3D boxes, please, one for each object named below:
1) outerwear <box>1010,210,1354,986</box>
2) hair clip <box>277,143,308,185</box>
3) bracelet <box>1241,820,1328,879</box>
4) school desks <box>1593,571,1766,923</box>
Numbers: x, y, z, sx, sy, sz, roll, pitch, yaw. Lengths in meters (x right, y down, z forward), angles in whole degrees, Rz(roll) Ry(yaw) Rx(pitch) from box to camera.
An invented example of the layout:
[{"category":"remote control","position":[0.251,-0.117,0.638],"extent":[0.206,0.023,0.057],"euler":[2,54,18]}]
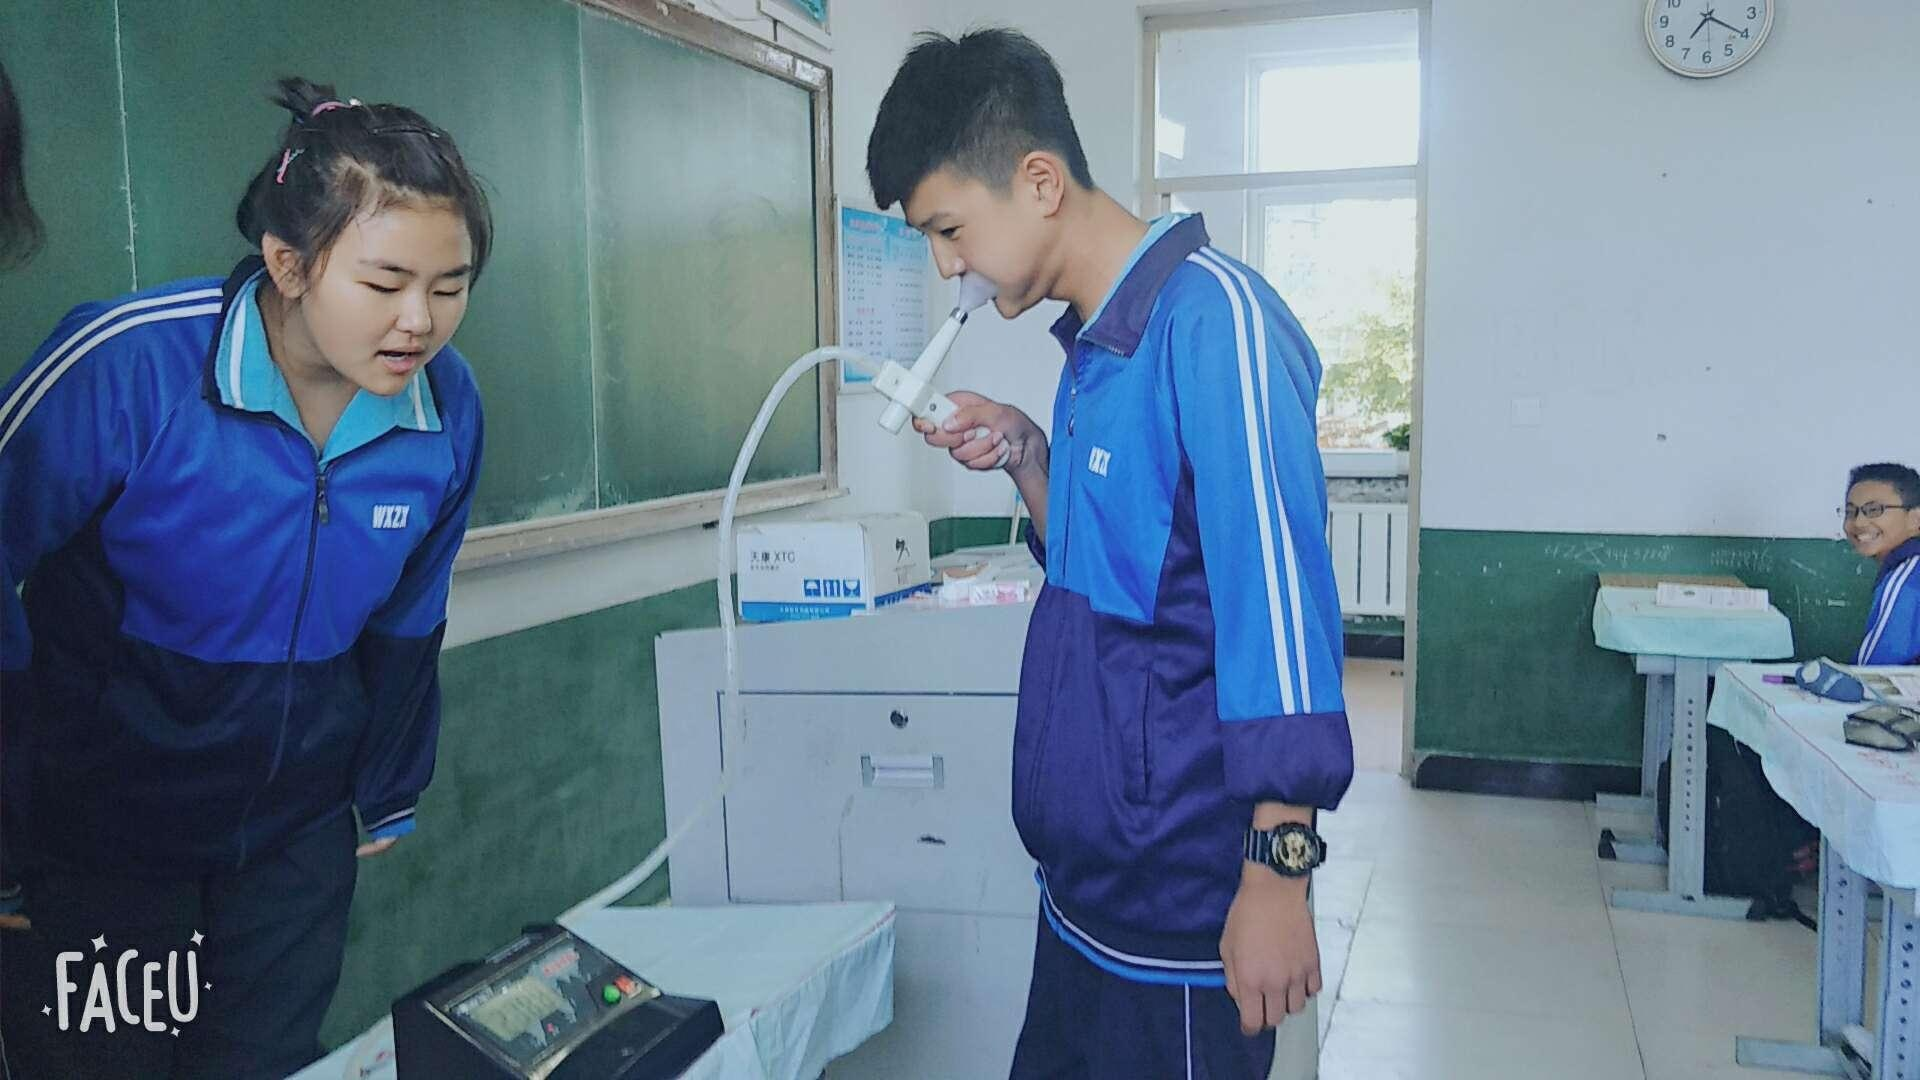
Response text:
[{"category":"outerwear","position":[0.409,0.124,2.679],"extent":[0.663,1.517,0.317],"euler":[1,8,15]},{"category":"hair clip","position":[-1.426,-0.810,2.945],"extent":[0.054,0.075,0.024],"euler":[-5,-2,-21]},{"category":"bracelet","position":[0.605,0.562,2.563],"extent":[0.125,0.051,0.102],"euler":[3,7,33]},{"category":"school desks","position":[2.621,0.743,5.033],"extent":[0.492,1.003,1.179],"euler":[1,3,16]}]
